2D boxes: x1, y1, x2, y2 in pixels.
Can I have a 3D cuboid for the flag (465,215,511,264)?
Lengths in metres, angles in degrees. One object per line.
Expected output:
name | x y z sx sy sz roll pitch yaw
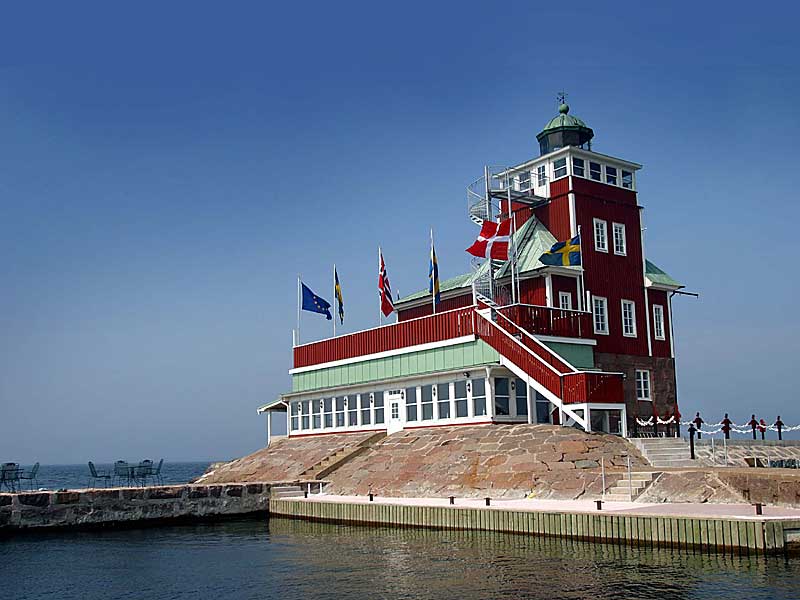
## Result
flag | 4.652 -2.919 43.332 1.879 1.977 1.920 -7 1 7

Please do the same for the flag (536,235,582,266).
flag | 8.136 -2.416 44.389 1.728 1.239 0.253 -1 10 7

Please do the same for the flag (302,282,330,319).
flag | -4.419 0.148 45.640 0.216 1.890 1.942 -10 -12 40
